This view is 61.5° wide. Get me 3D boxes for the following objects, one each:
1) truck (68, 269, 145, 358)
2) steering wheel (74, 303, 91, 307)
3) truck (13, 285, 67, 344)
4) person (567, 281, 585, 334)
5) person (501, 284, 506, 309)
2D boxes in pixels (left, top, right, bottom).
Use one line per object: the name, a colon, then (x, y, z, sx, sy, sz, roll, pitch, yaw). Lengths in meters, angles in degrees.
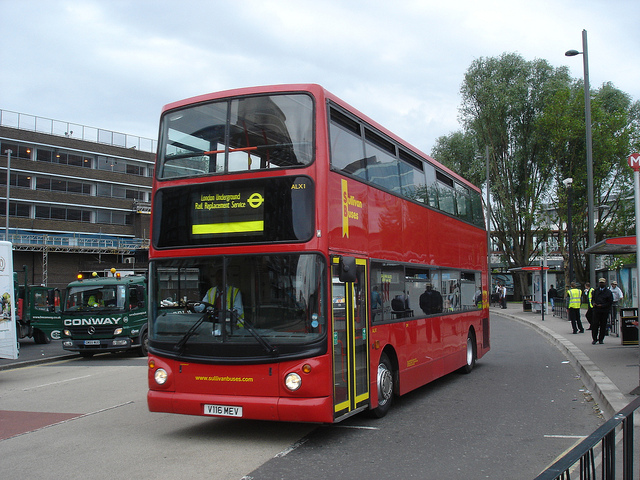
truck: (-6.819, 2.727, 19.543, 1.810, 2.321, 4.725, -1, -7, 9)
steering wheel: (-7.900, 2.185, 17.986, 0.570, 0.131, 0.059, -2, -3, 7)
truck: (-11.974, 3.292, 22.811, 1.380, 2.772, 8.631, 1, -5, -31)
person: (10.894, 2.999, 22.915, 0.557, 1.898, 1.166, -2, -4, 27)
person: (16.000, 5.020, 46.718, 0.266, 1.820, 0.830, -2, -3, 24)
